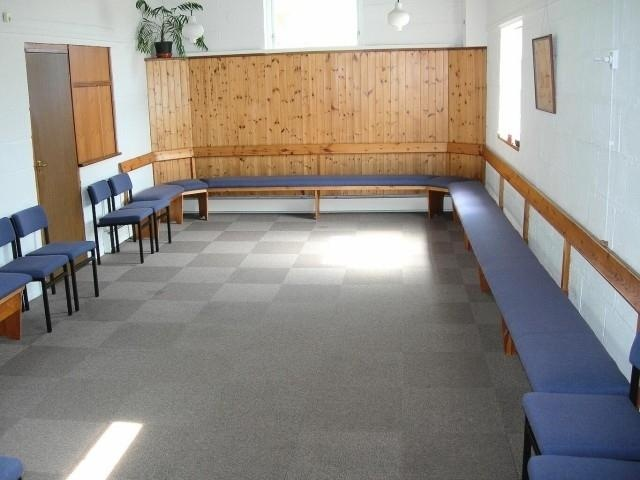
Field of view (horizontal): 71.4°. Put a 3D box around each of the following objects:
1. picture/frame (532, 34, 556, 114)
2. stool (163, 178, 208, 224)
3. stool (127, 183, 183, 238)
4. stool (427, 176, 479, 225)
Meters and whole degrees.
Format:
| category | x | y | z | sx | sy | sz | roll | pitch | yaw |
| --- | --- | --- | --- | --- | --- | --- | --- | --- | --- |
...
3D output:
| category | x | y | z | sx | sy | sz | roll | pitch | yaw |
| --- | --- | --- | --- | --- | --- | --- | --- | --- | --- |
| picture/frame | 2.292 | -1.682 | 4.506 | 0.156 | 0.723 | 0.792 | 2 | 19 | 17 |
| stool | -2.484 | -0.833 | 8.438 | 0.813 | 0.877 | 0.794 | -2 | 16 | -13 |
| stool | -2.751 | -0.522 | 7.364 | 0.312 | 0.562 | 0.845 | 1 | 19 | 0 |
| stool | 2.394 | -0.789 | 8.030 | 0.839 | 0.882 | 0.698 | -1 | 21 | 3 |
